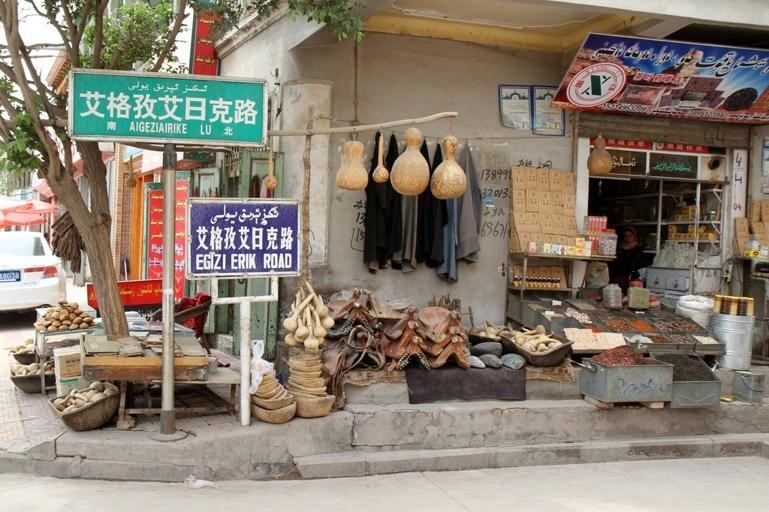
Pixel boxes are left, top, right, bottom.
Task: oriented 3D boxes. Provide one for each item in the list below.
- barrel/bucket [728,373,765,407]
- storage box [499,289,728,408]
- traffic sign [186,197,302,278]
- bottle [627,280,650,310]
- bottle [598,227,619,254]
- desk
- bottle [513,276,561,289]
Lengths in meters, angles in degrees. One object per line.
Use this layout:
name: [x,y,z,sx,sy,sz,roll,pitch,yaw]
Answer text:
barrel/bucket: [5.525,1.968,10.782,0.424,0.449,0.350,1,3,24]
storage box: [3.926,1.253,11.005,2.619,0.954,1.708,4,-2,-20]
traffic sign: [-1.765,-0.231,8.750,1.145,0.696,0.146,0,1,-12]
bottle: [4.382,0.719,12.262,0.420,0.526,0.395,0,-1,0]
bottle: [3.911,-0.236,12.350,0.391,0.465,0.262,0,3,-9]
desk: [-2.682,1.696,9.590,1.435,0.672,1.830,0,2,-12]
bottle: [2.641,0.454,12.161,0.858,0.178,0.245,0,2,-4]
